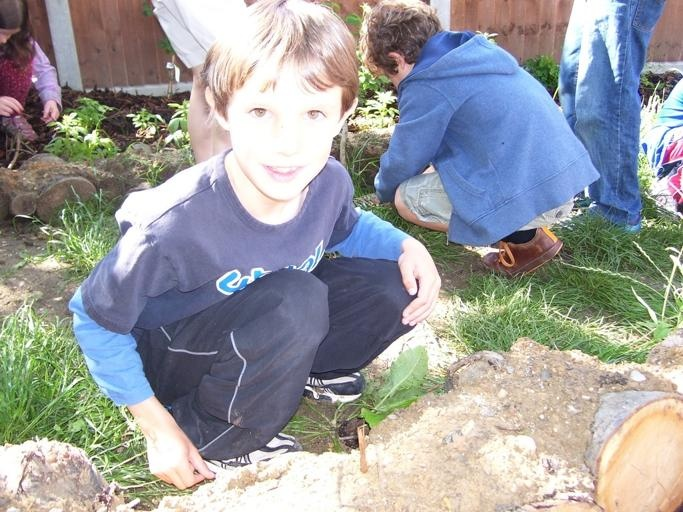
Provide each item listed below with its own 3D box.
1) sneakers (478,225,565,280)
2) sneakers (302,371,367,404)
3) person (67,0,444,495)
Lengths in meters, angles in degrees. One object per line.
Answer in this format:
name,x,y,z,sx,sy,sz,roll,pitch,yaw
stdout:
sneakers,1.093,-0.011,3.448,0.486,0.244,0.213,-35,17,37
sneakers,-0.028,0.594,2.571,0.275,0.138,0.126,1,16,12
person,-0.307,-0.036,2.070,1.320,1.658,0.591,-18,28,-31
